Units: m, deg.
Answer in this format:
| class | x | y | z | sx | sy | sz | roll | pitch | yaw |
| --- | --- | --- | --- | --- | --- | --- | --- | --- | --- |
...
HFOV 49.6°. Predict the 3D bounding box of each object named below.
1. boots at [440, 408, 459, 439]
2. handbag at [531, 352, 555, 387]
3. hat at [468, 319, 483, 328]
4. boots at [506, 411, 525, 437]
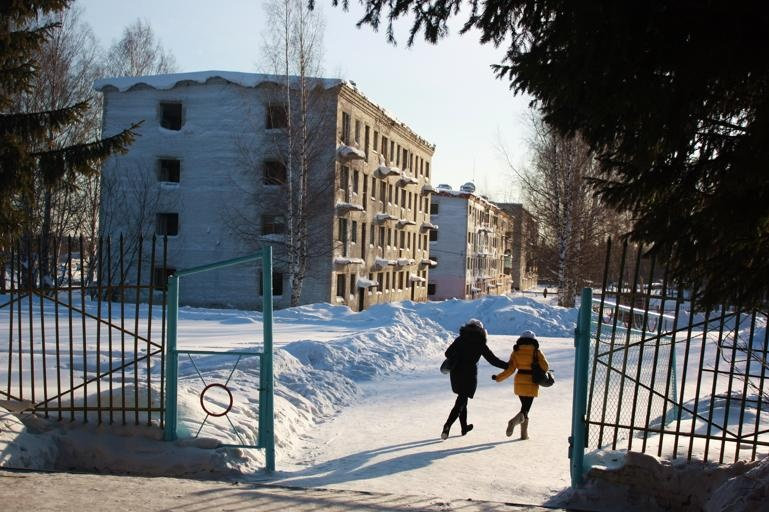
| class | x | y | z | sx | sy | sz | roll | pitch | yaw |
| --- | --- | --- | --- | --- | --- | --- | --- | --- | --- |
| boots | 1.191 | 3.140 | 15.355 | 0.213 | 0.721 | 0.303 | 19 | -23 | 4 |
| handbag | 2.931 | 2.106 | 15.397 | 0.396 | 0.598 | 0.204 | 3 | -6 | -25 |
| hat | 1.766 | 1.317 | 16.023 | 0.290 | 0.157 | 0.422 | 7 | -3 | 14 |
| boots | 2.454 | 3.166 | 15.579 | 0.356 | 0.481 | 0.868 | 0 | -6 | 8 |
